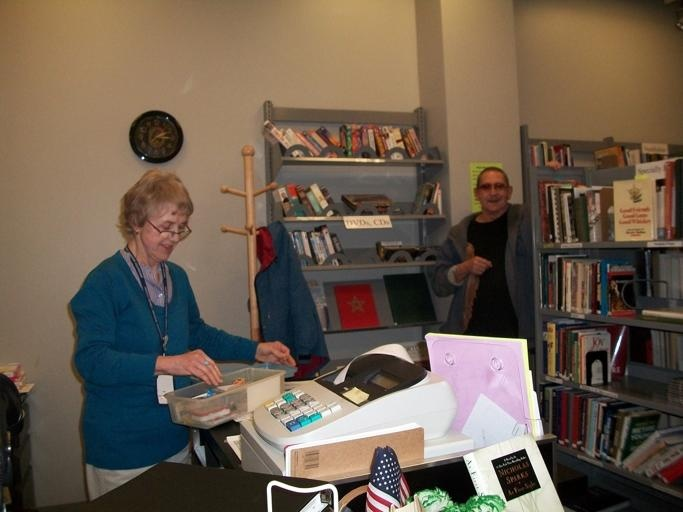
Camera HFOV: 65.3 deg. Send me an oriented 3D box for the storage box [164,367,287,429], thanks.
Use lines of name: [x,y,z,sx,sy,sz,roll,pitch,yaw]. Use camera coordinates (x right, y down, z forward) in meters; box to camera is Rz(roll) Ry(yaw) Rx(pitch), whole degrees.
storage box: [-0.452,0.553,2.107,0.376,0.130,0.236,-5,5,-38]

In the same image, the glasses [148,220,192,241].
glasses: [-0.755,-0.103,2.294,0.096,0.031,0.098,38,20,24]

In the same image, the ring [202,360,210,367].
ring: [-0.523,0.414,2.045,0.023,0.021,0.005,14,-1,30]
